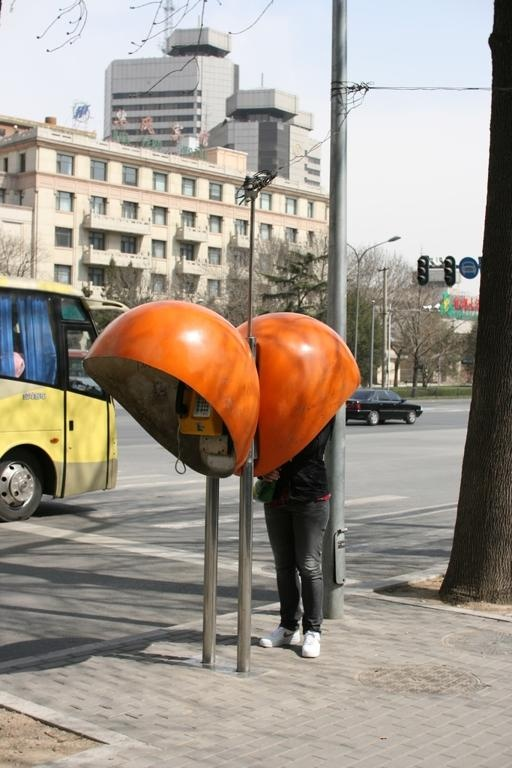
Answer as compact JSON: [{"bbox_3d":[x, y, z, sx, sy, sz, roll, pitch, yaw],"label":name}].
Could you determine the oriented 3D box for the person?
[{"bbox_3d":[0.228,0.677,6.209,0.369,1.596,0.557,1,-1,-43],"label":"person"}]
